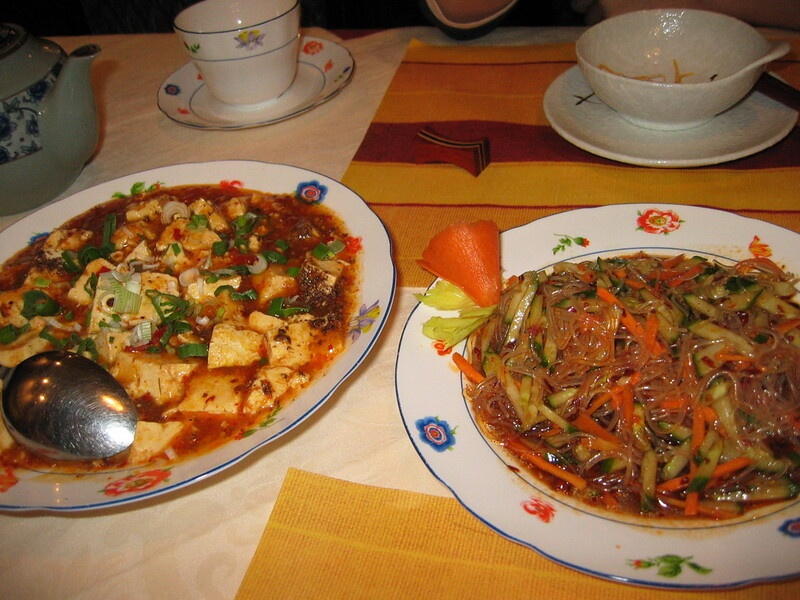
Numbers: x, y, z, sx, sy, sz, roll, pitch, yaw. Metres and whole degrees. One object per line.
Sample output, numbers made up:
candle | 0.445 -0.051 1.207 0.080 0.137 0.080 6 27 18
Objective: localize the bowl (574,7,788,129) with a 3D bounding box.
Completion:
bowl | 1.094 -0.933 2.602 0.723 0.261 0.619 10 48 25
